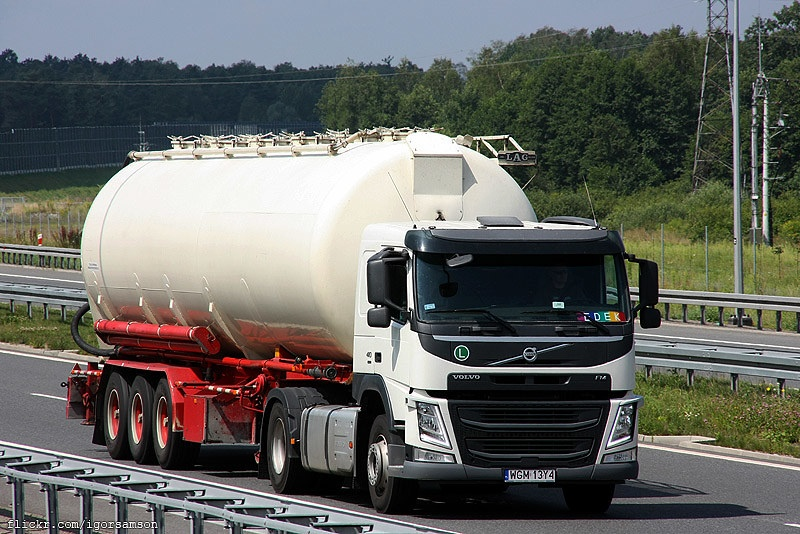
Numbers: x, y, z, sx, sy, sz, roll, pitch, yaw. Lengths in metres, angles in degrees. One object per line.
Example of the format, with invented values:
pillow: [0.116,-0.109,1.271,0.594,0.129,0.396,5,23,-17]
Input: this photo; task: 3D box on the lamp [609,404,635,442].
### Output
lamp: [3.865,2.691,25.119,0.453,0.614,0.179,0,8,-21]

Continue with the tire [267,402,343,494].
tire: [-2.007,3.339,27.086,0.642,1.854,1.796,1,-4,-20]

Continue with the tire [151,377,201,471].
tire: [-4.355,3.112,28.426,0.582,1.741,1.676,1,2,-29]

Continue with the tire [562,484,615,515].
tire: [3.366,4.141,25.775,0.841,0.401,0.568,-1,-3,9]

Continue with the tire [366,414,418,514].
tire: [-0.098,3.419,25.092,0.675,1.791,1.511,5,5,-22]

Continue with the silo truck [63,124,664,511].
silo truck: [-0.882,0.930,27.200,11.040,6.759,3.374,8,12,36]
